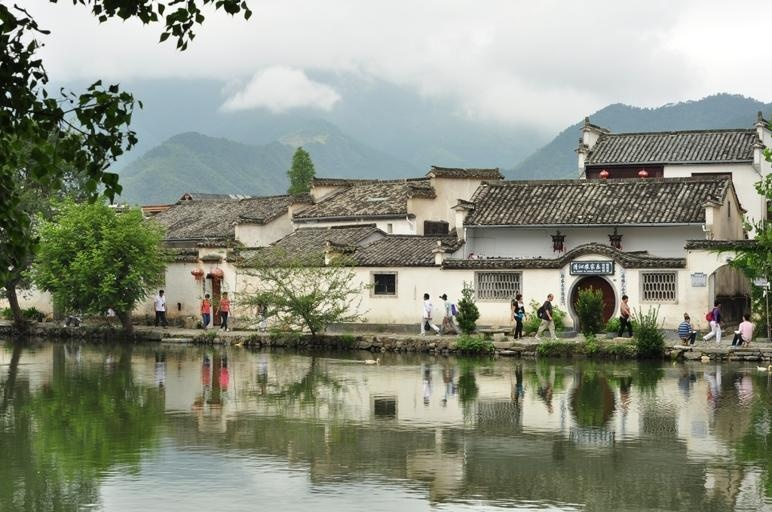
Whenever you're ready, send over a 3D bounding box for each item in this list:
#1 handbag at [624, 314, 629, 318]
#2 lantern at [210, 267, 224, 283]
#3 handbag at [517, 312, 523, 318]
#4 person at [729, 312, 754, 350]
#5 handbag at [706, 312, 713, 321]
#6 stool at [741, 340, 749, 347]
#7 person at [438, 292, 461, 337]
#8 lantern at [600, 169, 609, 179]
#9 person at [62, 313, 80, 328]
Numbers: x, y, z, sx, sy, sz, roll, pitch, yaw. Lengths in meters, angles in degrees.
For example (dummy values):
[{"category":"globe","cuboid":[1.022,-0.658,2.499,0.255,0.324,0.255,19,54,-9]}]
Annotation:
[{"category":"handbag","cuboid":[8.519,2.111,53.656,0.114,0.106,0.059,-3,-1,-8]},{"category":"lantern","cuboid":[-7.277,0.825,66.213,0.522,0.355,0.534,17,-19,-27]},{"category":"handbag","cuboid":[4.857,2.148,54.841,0.167,0.205,0.081,0,-9,-6]},{"category":"person","cuboid":[12.129,2.543,51.589,0.655,1.166,1.203,-1,-7,13]},{"category":"handbag","cuboid":[11.370,2.123,53.142,0.201,0.269,0.249,15,8,6]},{"category":"stool","cuboid":[12.242,2.984,51.512,0.205,0.252,0.216,-1,1,32]},{"category":"person","cuboid":[2.521,2.212,58.173,0.719,1.524,0.808,1,-7,1]},{"category":"lantern","cuboid":[10.180,-3.805,70.314,0.517,0.471,0.512,2,-4,-7]},{"category":"person","cuboid":[-13.802,2.875,66.964,0.708,0.601,0.719,4,-12,-18]}]
